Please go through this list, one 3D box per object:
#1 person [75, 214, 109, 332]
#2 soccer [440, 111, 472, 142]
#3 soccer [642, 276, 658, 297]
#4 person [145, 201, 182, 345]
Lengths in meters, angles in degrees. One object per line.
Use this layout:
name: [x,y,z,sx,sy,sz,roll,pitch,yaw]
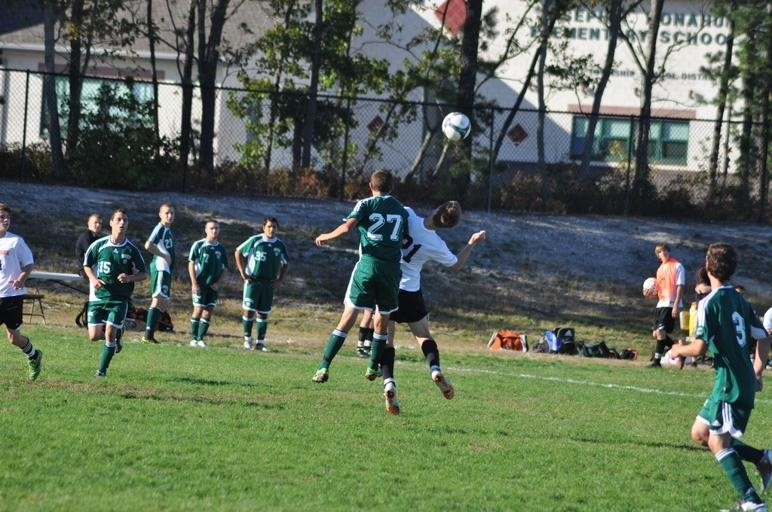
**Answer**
person: [-8.785,0.201,39.693,1.079,3.925,1.163,3,-1,-11]
soccer: [2.197,-3.953,41.383,0.780,0.855,0.864,7,16,20]
soccer: [8.546,0.958,43.325,0.391,0.524,0.389,19,-46,-18]
person: [-6.679,0.524,39.737,0.793,4.140,1.512,2,14,3]
